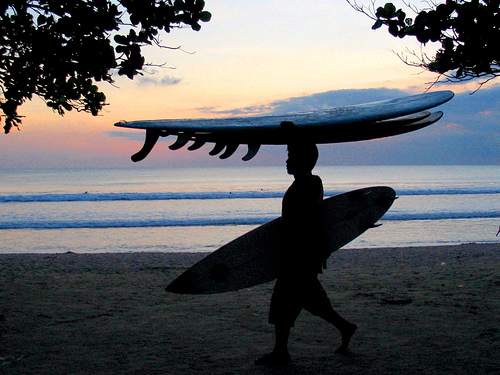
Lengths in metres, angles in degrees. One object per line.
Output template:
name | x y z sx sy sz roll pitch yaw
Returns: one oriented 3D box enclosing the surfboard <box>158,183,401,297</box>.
surfboard | 0.418 1.027 13.622 4.811 0.798 0.422 -16 -7 -44
